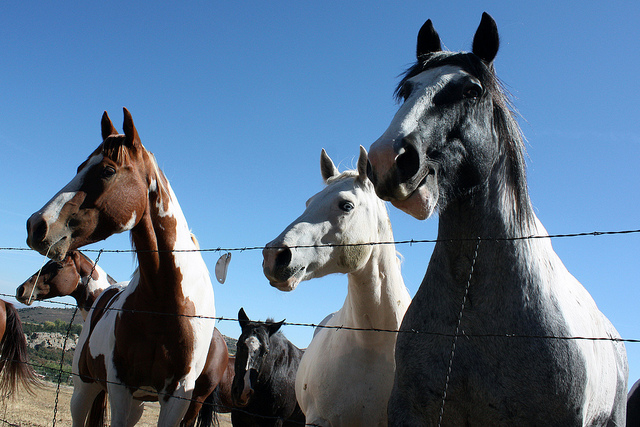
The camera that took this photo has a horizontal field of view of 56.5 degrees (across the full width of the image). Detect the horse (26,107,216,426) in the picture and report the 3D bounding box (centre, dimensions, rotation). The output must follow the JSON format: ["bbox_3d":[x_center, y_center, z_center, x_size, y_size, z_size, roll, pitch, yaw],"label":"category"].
[{"bbox_3d":[-1.785,0.549,5.778,1.502,2.824,1.054,5,-15,-4],"label":"horse"}]
